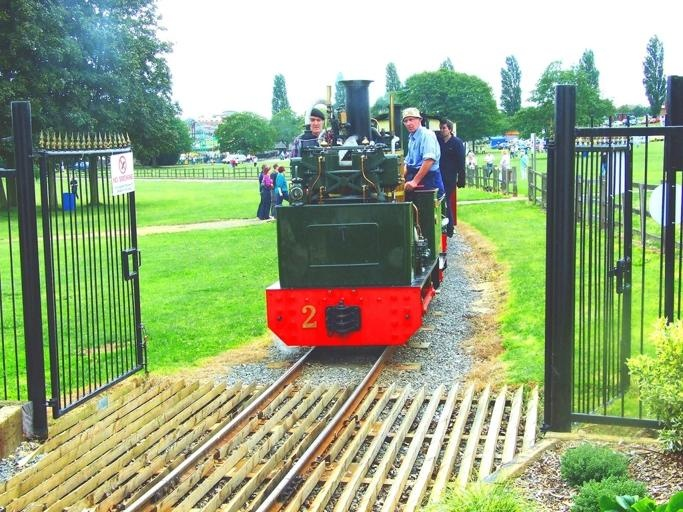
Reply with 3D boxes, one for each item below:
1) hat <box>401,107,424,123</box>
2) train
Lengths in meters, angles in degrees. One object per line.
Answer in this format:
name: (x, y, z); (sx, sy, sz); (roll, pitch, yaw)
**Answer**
hat: (1.264, -2.571, 11.374); (0.451, 0.231, 0.482); (3, 10, 21)
train: (0.560, -0.574, 10.719); (1.703, 2.949, 5.057); (1, 10, 6)
